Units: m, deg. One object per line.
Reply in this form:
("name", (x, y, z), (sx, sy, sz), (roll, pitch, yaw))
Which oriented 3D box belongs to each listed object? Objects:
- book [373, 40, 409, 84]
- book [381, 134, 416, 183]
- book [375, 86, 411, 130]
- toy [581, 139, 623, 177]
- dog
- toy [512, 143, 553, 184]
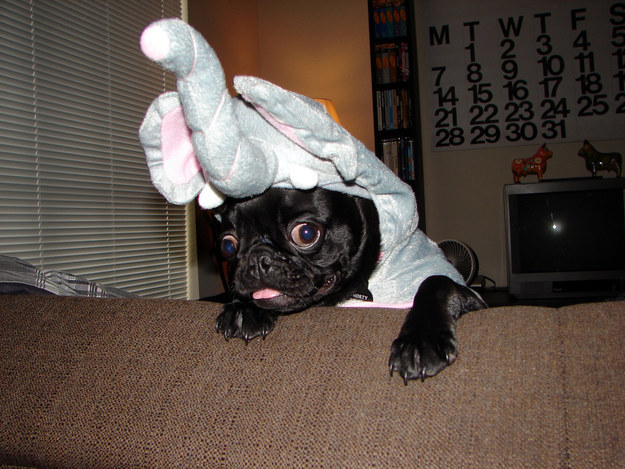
("book", (0.520, -1.142, 3.476), (0.279, 0.290, 0.070), (1, 0, 13))
("book", (0.596, -0.525, 3.668), (0.250, 0.401, 0.268), (0, 4, 10))
("book", (0.521, -0.819, 3.519), (0.216, 0.331, 0.313), (-3, 4, 5))
("toy", (1.732, -0.455, 3.181), (0.216, 0.217, 0.211), (0, 6, 36))
("dog", (0.200, -0.003, 1.587), (0.758, 0.430, 1.119), (-5, 7, 34))
("toy", (1.342, -0.435, 3.245), (0.238, 0.214, 0.182), (-8, 6, -34))
